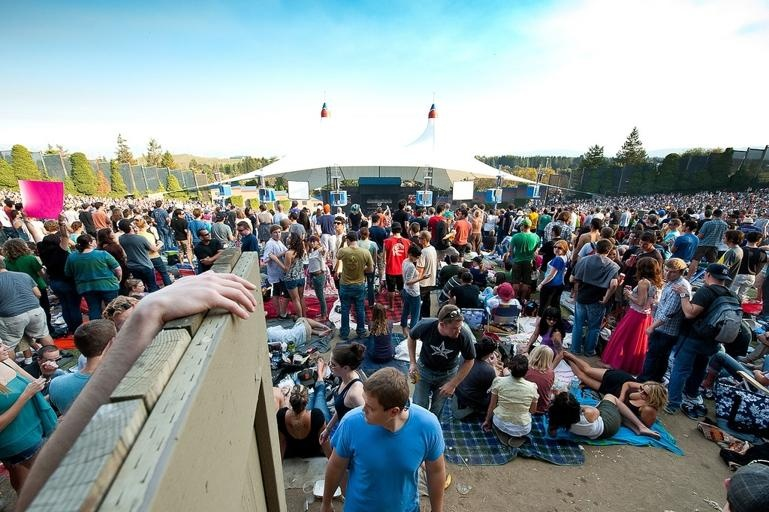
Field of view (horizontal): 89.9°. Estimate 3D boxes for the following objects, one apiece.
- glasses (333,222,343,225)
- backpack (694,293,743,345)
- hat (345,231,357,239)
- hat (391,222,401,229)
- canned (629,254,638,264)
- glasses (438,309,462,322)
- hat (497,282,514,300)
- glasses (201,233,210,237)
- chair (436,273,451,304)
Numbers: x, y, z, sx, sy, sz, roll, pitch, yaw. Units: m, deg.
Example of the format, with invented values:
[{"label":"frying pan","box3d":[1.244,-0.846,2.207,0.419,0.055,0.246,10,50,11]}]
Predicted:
[{"label":"glasses","box3d":[-1.014,-0.741,8.513,0.232,0.076,0.232,-2,6,-8]},{"label":"backpack","box3d":[4.654,0.850,5.273,0.487,0.635,0.364,14,8,-7]},{"label":"hat","box3d":[-0.592,-0.375,6.871,0.128,0.150,0.153,4,11,-1]},{"label":"hat","box3d":[0.271,-0.665,8.076,0.279,0.113,0.282,3,4,43]},{"label":"canned","box3d":[4.797,0.055,7.372,0.111,0.128,0.221,34,57,15]},{"label":"glasses","box3d":[0.805,0.722,4.649,0.198,0.092,0.145,-25,-6,15]},{"label":"hat","box3d":[2.246,0.655,7.109,0.341,0.191,0.238,-6,7,-43]},{"label":"glasses","box3d":[-3.502,-0.439,7.527,0.080,0.103,0.105,26,42,38]},{"label":"chair","box3d":[1.187,0.626,7.608,0.260,0.813,0.231,-21,45,-16]}]
